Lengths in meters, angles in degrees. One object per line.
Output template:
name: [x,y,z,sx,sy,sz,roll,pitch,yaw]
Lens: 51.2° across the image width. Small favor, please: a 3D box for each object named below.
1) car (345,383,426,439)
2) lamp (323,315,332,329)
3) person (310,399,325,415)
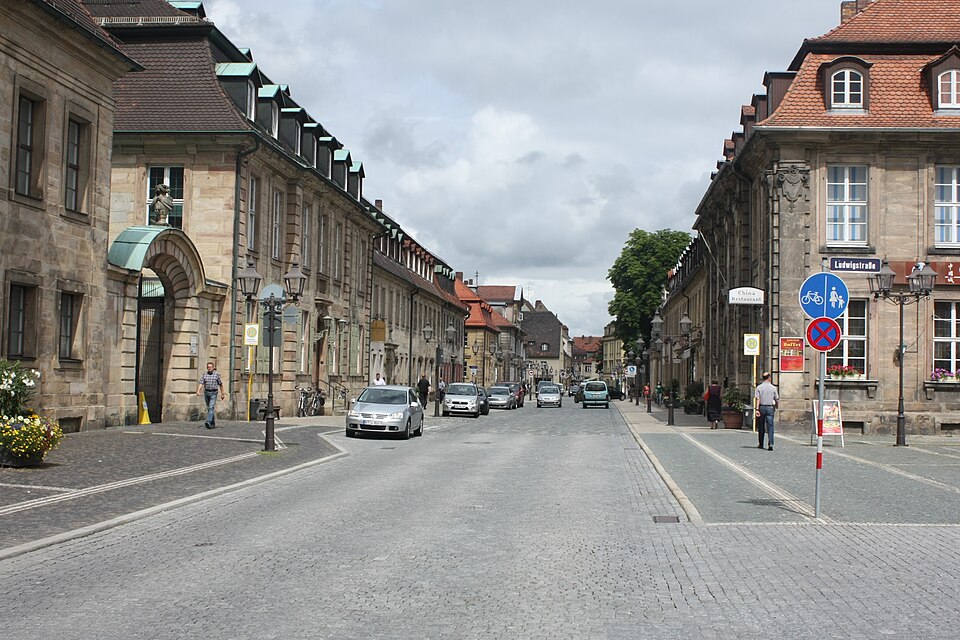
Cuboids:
car: [-3.164,2.929,32.714,1.979,1.748,2.605,-1,-7,11]
lamp: [-7.345,0.110,47.639,0.491,0.541,0.508,-4,-7,39]
person: [-7.199,3.822,44.562,0.574,1.070,0.564,1,-5,-12]
